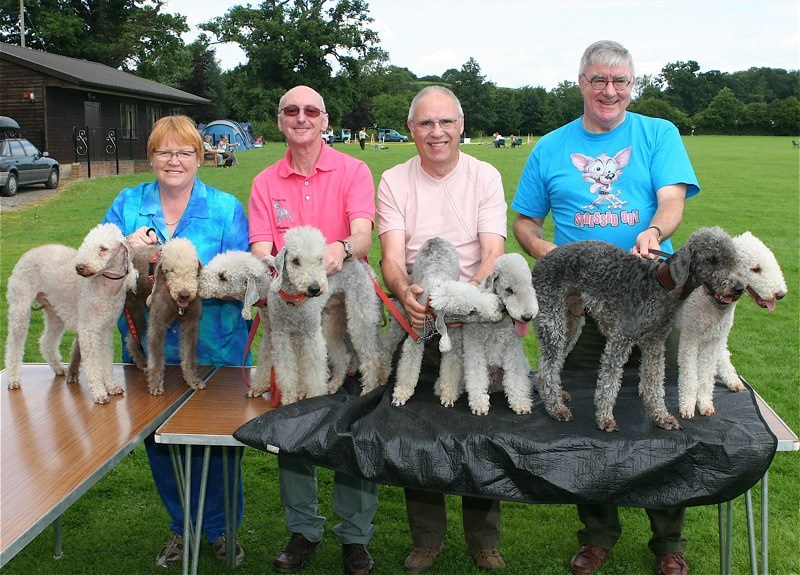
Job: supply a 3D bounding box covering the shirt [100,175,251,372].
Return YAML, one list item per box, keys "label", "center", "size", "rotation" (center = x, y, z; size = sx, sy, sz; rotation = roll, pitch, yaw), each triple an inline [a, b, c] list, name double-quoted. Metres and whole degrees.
- label: "shirt"
  center: [-2.049, -0.252, 6.410]
  size: [0.769, 1.286, 2.693]
  rotation: [1, 25, -11]

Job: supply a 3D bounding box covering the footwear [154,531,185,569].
- label: "footwear"
  center: [-2.144, 2.499, 6.474]
  size: [0.232, 0.127, 0.325]
  rotation: [18, 51, 28]

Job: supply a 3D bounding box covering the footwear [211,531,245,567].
- label: "footwear"
  center: [-1.670, 2.495, 6.543]
  size: [0.185, 0.156, 0.374]
  rotation: [3, -10, -27]

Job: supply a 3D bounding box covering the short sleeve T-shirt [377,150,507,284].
- label: "short sleeve T-shirt"
  center: [0.368, -0.584, 5.982]
  size: [1.200, 1.158, 0.624]
  rotation: [1, 11, 5]
